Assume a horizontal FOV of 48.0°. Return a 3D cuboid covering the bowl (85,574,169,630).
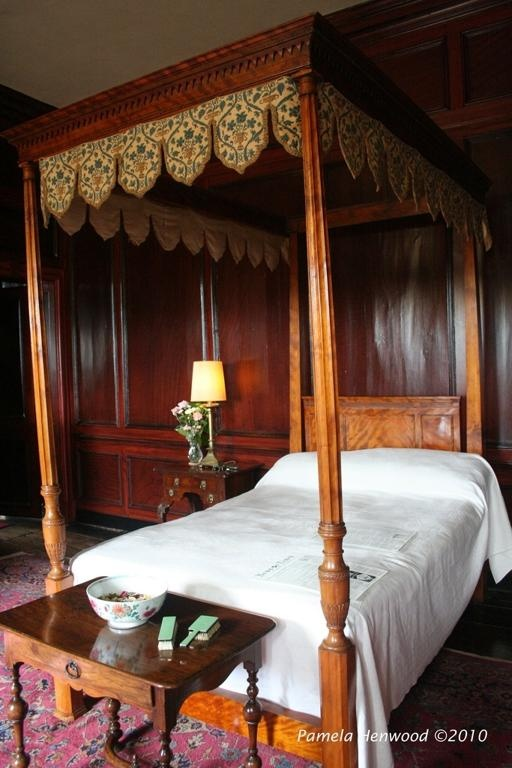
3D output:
[{"bbox_3d":[-0.392,0.636,1.788,0.201,0.128,0.221,4,2,0],"label":"bowl"}]
